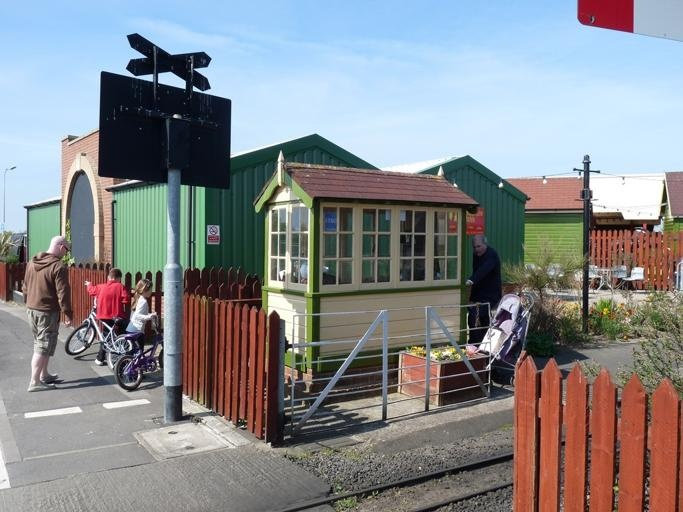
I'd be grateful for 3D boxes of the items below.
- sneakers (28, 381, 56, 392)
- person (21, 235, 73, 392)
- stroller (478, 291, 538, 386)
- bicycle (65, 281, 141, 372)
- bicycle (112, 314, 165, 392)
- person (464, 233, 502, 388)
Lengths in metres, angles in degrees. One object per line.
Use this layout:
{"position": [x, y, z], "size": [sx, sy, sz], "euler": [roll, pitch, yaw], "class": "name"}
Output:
{"position": [-4.642, 1.994, 12.003], "size": [0.318, 0.136, 0.164], "euler": [-5, 4, -38], "class": "sneakers"}
{"position": [-4.637, 0.891, 12.252], "size": [0.683, 2.244, 1.169], "euler": [-3, 10, -22], "class": "person"}
{"position": [2.576, 1.267, 12.634], "size": [0.878, 1.499, 0.764], "euler": [8, -2, -6], "class": "stroller"}
{"position": [-4.172, 1.334, 13.659], "size": [1.513, 1.091, 0.707], "euler": [12, -7, 27], "class": "bicycle"}
{"position": [-3.250, 1.598, 12.629], "size": [0.646, 1.002, 1.457], "euler": [-6, -9, 16], "class": "bicycle"}
{"position": [2.690, 0.527, 14.265], "size": [0.681, 2.014, 0.701], "euler": [-5, 26, 10], "class": "person"}
